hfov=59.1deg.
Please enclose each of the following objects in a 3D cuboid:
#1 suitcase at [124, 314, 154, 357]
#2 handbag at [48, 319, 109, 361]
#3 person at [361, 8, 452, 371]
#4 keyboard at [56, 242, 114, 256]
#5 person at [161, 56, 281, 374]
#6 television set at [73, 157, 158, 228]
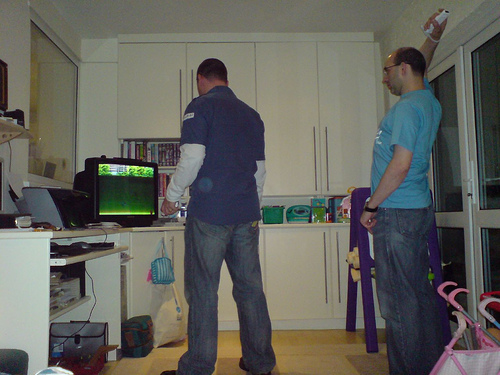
[{"bbox_3d":[-0.883,1.212,3.558,0.196,0.308,0.344,-11,-5,8],"label":"suitcase"},{"bbox_3d":[-1.265,1.115,3.263,0.411,0.327,0.248,5,-3,-20],"label":"handbag"},{"bbox_3d":[0.950,0.143,2.729,0.521,2.011,0.345,-1,-2,8],"label":"person"},{"bbox_3d":[-1.079,0.394,2.868,0.211,0.042,0.493,-1,-2,11],"label":"keyboard"},{"bbox_3d":[-0.189,0.181,2.820,0.688,2.062,0.258,0,-2,-20],"label":"person"},{"bbox_3d":[-1.151,0.028,4.051,0.562,0.785,0.804,-4,-6,44],"label":"television set"}]
